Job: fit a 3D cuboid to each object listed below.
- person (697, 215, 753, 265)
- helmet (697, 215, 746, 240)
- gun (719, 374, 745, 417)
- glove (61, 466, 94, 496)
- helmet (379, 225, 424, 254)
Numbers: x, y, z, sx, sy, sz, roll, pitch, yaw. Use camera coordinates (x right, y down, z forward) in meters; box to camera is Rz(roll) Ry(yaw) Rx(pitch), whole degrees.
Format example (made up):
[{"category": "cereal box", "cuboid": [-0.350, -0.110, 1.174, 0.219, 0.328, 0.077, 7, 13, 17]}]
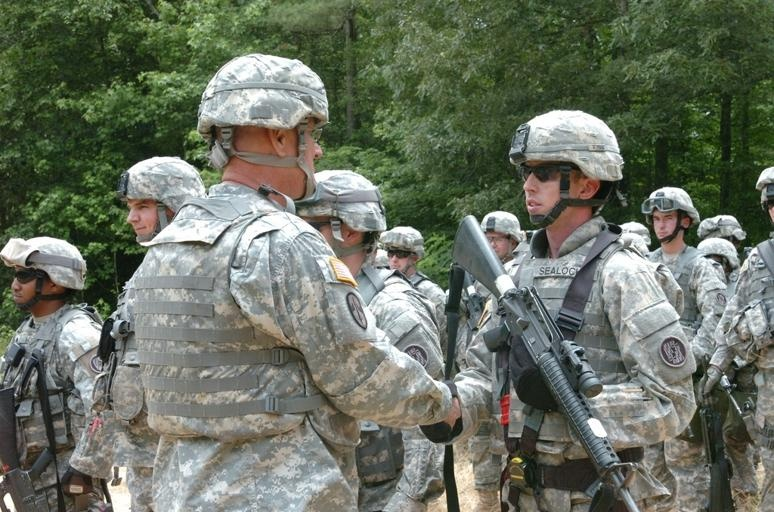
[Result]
[{"category": "person", "cuboid": [6.451, -0.378, 22.915, 0.756, 0.673, 0.711, 0, -7, 23]}, {"category": "helmet", "cuboid": [6.273, -0.537, 22.817, 0.621, 0.470, 0.568, 1, 1, 5]}, {"category": "gun", "cuboid": [5.517, 2.212, 19.213, 0.211, 0.301, 0.884, -14, 53, -2]}, {"category": "glove", "cuboid": [-4.560, 3.327, 17.843, 0.491, 0.450, 0.395, 0, 2, -12]}, {"category": "helmet", "cuboid": [0.278, -0.260, 20.712, 0.502, 0.467, 0.592, 9, 12, 38]}]
